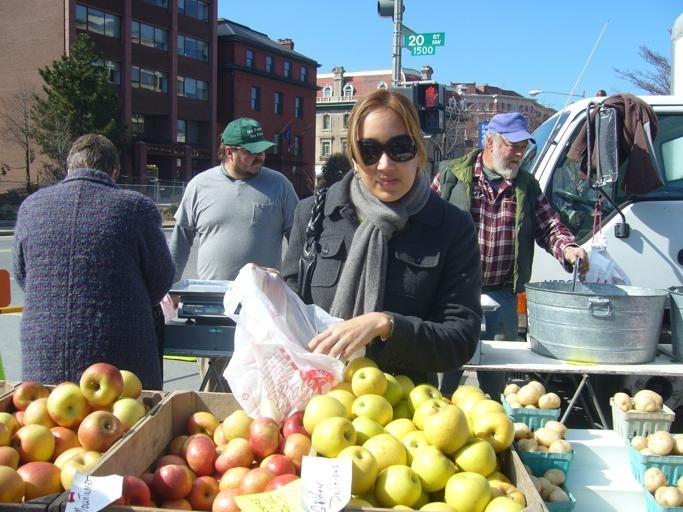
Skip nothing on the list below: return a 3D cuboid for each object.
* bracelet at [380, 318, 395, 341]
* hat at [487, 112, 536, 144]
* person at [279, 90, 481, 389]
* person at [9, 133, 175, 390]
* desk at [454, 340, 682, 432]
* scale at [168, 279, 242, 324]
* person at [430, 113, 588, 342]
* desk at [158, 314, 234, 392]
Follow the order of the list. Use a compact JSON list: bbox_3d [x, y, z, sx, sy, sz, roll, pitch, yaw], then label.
[{"bbox_3d":[0.243,0.392,3.678,0.077,0.121,0.050,7,-9,-9],"label":"bracelet"},{"bbox_3d":[1.479,-1.128,6.059,0.354,0.215,0.266,8,5,43],"label":"hat"},{"bbox_3d":[0.266,-0.032,3.980,1.340,2.350,0.695,3,4,35],"label":"person"},{"bbox_3d":[-1.664,0.591,4.757,0.966,2.774,1.156,-2,-4,-10],"label":"person"},{"bbox_3d":[1.563,0.769,4.769,1.043,0.649,1.243,1,6,-36],"label":"desk"},{"bbox_3d":[-1.051,0.348,5.323,0.410,0.382,0.236,1,6,-4],"label":"scale"},{"bbox_3d":[1.350,-0.332,5.883,1.009,2.200,1.050,2,8,0],"label":"person"},{"bbox_3d":[-1.153,0.870,5.492,0.566,0.809,0.538,12,6,-9],"label":"desk"}]
